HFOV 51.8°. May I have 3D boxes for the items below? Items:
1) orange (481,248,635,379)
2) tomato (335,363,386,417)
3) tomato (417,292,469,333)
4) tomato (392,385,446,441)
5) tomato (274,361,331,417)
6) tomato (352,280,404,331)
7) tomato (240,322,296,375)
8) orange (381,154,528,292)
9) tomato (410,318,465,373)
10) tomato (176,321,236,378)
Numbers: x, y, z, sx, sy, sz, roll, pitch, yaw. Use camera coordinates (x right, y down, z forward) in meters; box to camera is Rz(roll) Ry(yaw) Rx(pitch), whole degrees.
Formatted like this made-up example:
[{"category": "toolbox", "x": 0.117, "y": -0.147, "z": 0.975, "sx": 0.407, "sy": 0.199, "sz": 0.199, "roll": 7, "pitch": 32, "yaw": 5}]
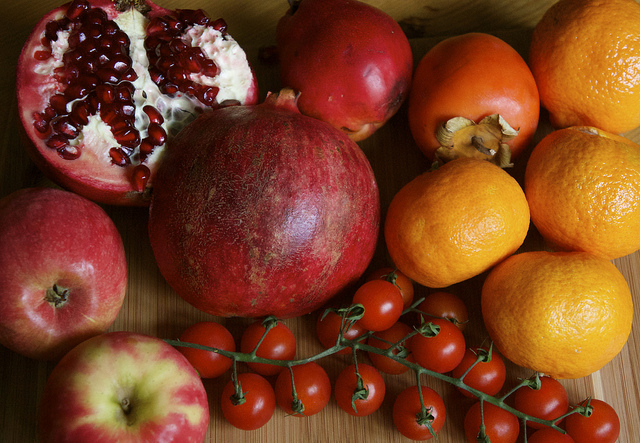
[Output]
[{"category": "orange", "x": 0.454, "y": 0.181, "z": 1.267, "sx": 0.280, "sy": 0.177, "sz": 0.190, "roll": 10, "pitch": 54, "yaw": 3}, {"category": "tomato", "x": 0.079, "y": 0.317, "z": 1.274, "sx": 0.098, "sy": 0.142, "sz": 0.084, "roll": -2, "pitch": 53, "yaw": -4}, {"category": "tomato", "x": 0.256, "y": 0.178, "z": 1.366, "sx": 0.092, "sy": 0.081, "sz": 0.085, "roll": 3, "pitch": 83, "yaw": 46}, {"category": "tomato", "x": 0.182, "y": 0.361, "z": 1.256, "sx": 0.092, "sy": 0.104, "sz": 0.099, "roll": -11, "pitch": 24, "yaw": 5}, {"category": "tomato", "x": -0.034, "y": 0.328, "z": 1.288, "sx": 0.108, "sy": 0.102, "sz": 0.087, "roll": -5, "pitch": 54, "yaw": -7}, {"category": "tomato", "x": 0.112, "y": 0.164, "z": 1.283, "sx": 0.096, "sy": 0.085, "sz": 0.082, "roll": 12, "pitch": 54, "yaw": 5}, {"category": "tomato", "x": -0.103, "y": 0.237, "z": 1.280, "sx": 0.092, "sy": 0.097, "sz": 0.125, "roll": 2, "pitch": 84, "yaw": -7}, {"category": "orange", "x": 0.268, "y": -0.039, "z": 1.331, "sx": 0.241, "sy": 0.265, "sz": 0.197, "roll": -15, "pitch": 59, "yaw": -42}, {"category": "tomato", "x": 0.230, "y": 0.234, "z": 1.265, "sx": 0.094, "sy": 0.068, "sz": 0.085, "roll": -21, "pitch": 59, "yaw": -18}, {"category": "tomato", "x": -0.215, "y": 0.245, "z": 1.283, "sx": 0.097, "sy": 0.105, "sz": 0.126, "roll": -1, "pitch": 62, "yaw": -6}]
